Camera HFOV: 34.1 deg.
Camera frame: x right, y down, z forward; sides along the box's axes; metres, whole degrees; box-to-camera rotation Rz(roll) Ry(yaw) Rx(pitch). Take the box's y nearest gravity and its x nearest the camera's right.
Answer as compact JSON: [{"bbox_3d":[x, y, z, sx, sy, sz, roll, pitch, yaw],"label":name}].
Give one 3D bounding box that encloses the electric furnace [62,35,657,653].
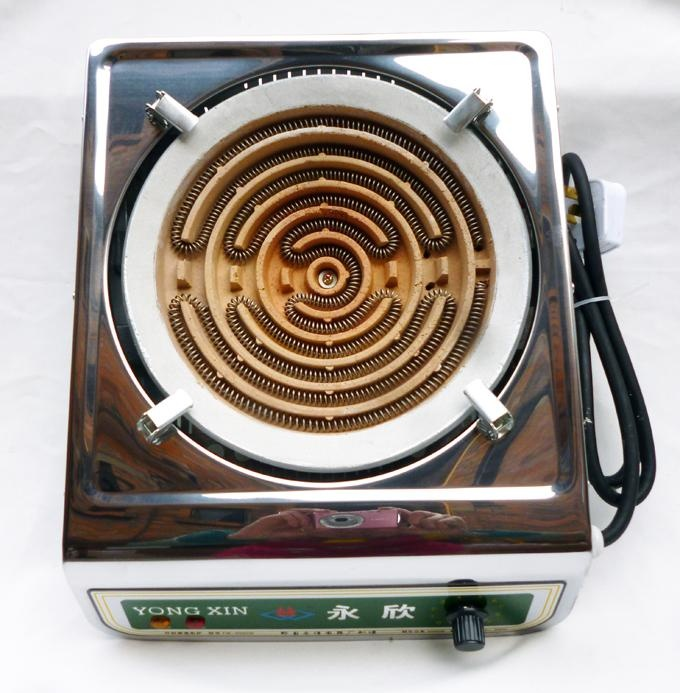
[{"bbox_3d":[-0.019,-0.006,2.347,1.109,1.161,1.017,-10,39,11],"label":"electric furnace"}]
